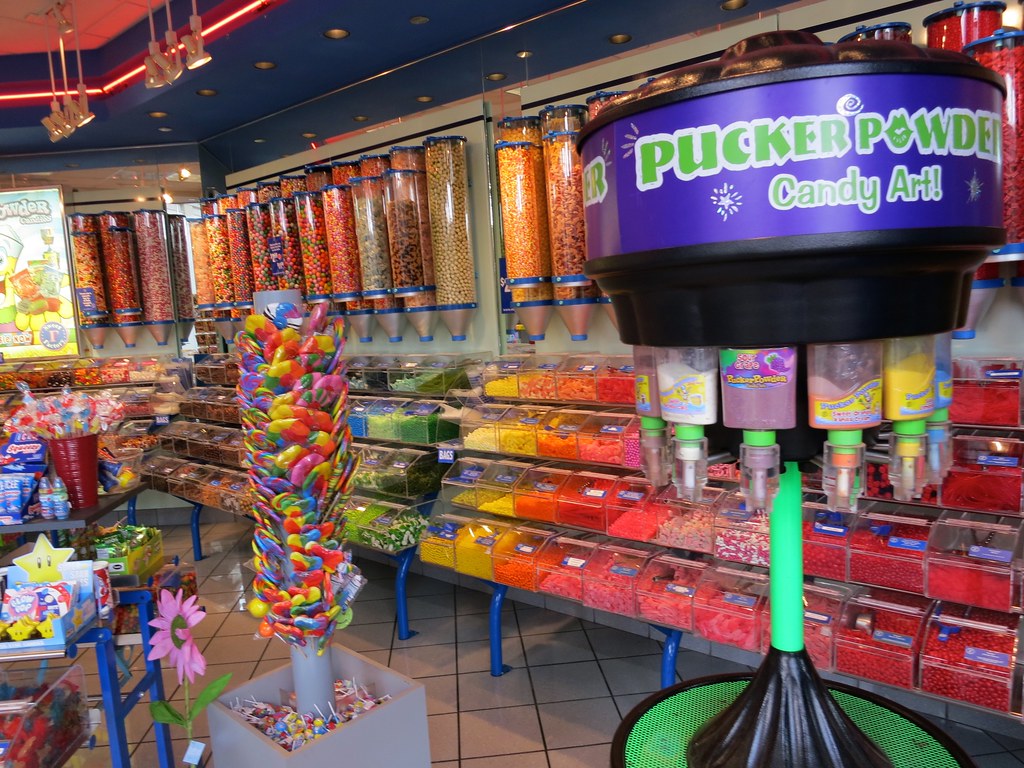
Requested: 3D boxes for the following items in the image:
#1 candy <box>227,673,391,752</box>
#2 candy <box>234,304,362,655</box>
[{"bbox_3d":[-0.487,0.788,1.843,0.299,0.075,0.295,-2,7,-42],"label":"candy"},{"bbox_3d":[-0.488,0.212,1.663,0.345,0.827,0.228,-13,13,-18],"label":"candy"}]
